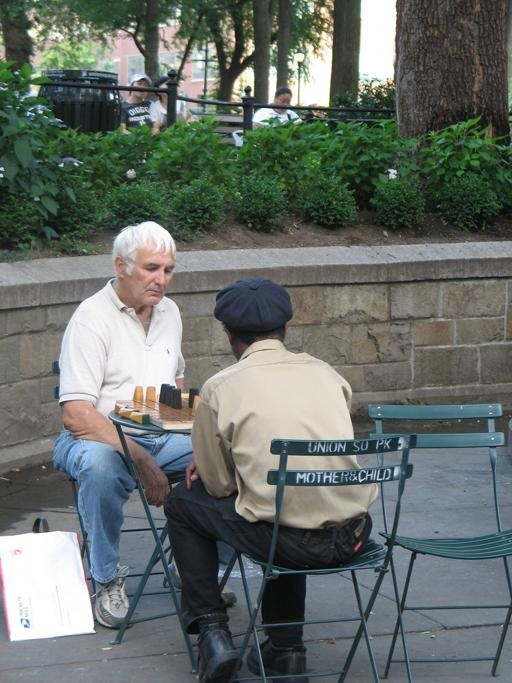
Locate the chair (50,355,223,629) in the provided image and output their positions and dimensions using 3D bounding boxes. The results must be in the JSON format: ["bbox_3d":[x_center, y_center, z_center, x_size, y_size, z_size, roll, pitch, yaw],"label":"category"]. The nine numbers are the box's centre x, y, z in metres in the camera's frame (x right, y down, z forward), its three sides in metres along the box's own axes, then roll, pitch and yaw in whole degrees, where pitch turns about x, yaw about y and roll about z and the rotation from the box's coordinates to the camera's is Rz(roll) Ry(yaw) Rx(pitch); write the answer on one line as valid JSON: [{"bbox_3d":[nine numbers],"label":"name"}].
[{"bbox_3d":[-0.502,0.536,4.827,0.644,1.176,0.529,2,3,43],"label":"chair"}]

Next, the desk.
[{"bbox_3d":[-0.443,0.696,4.606,0.663,0.971,0.677,-5,22,-33],"label":"desk"}]

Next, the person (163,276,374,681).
[{"bbox_3d":[-0.007,0.504,4.208,0.630,1.384,0.767,0,2,-2],"label":"person"}]

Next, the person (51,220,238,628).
[{"bbox_3d":[-0.574,0.363,4.880,0.864,1.638,0.887,-6,18,-32],"label":"person"}]

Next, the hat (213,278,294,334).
[{"bbox_3d":[-0.020,-0.155,4.138,0.209,0.082,0.221,-7,32,-5],"label":"hat"}]
